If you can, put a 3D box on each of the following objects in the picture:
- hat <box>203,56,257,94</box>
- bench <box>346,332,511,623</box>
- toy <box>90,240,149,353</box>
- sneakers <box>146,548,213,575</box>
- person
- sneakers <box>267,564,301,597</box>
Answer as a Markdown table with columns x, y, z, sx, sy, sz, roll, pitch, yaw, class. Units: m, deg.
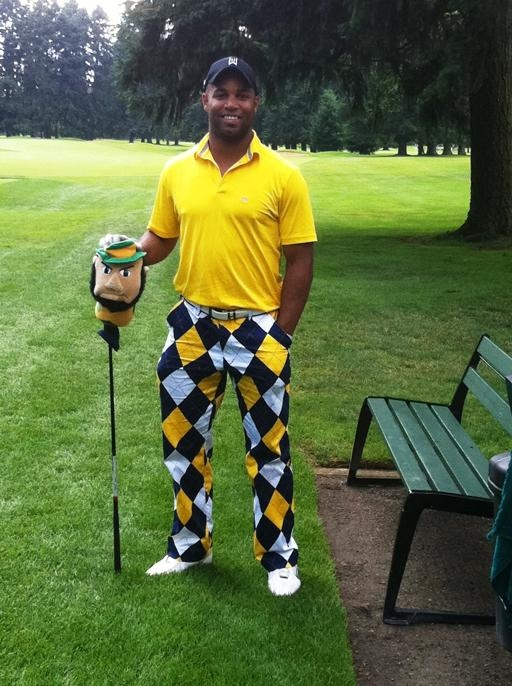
| x | y | z | sx | sy | sz | roll | pitch | yaw | class |
| --- | --- | --- | --- | --- | --- | --- | --- | --- | --- |
| -0.096 | -1.011 | 2.427 | 0.188 | 0.136 | 0.236 | 2 | 13 | -4 | hat |
| 0.879 | 0.683 | 3.300 | 0.445 | 0.574 | 1.097 | 3 | 12 | 4 | bench |
| -0.513 | -0.168 | 2.403 | 0.213 | 0.461 | 0.243 | 6 | 13 | 9 | toy |
| -0.333 | 0.923 | 2.766 | 0.263 | 0.099 | 0.086 | 0 | -4 | -15 | sneakers |
| -0.084 | -0.024 | 2.502 | 0.666 | 2.046 | 0.323 | 4 | 13 | 3 | person |
| 0.110 | 0.956 | 2.606 | 0.084 | 0.083 | 0.212 | 0 | -11 | 2 | sneakers |
